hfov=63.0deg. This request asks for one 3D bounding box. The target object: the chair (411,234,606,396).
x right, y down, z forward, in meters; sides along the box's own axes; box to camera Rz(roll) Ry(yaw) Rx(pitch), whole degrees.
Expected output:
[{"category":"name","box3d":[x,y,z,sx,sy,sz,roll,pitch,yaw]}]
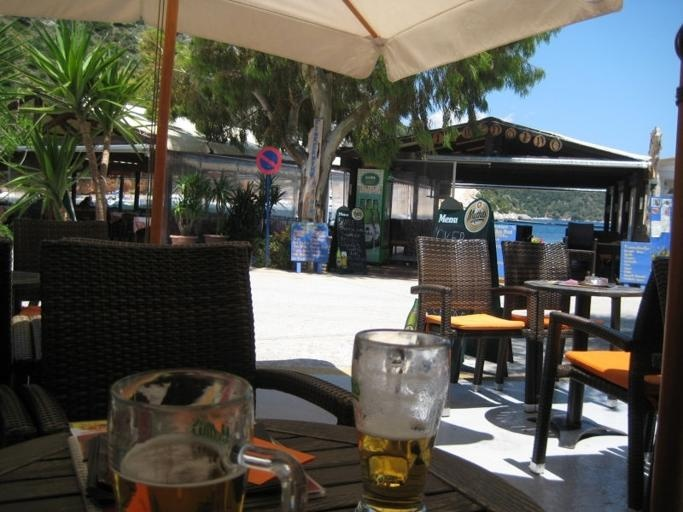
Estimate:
[{"category":"chair","box3d":[1.265,0.432,4.558,0.991,1.725,1.139,1,-2,-15]}]

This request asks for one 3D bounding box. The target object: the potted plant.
[{"category":"potted plant","box3d":[-3.230,-0.482,15.290,2.638,2.895,2.199,2,-3,-12]}]
